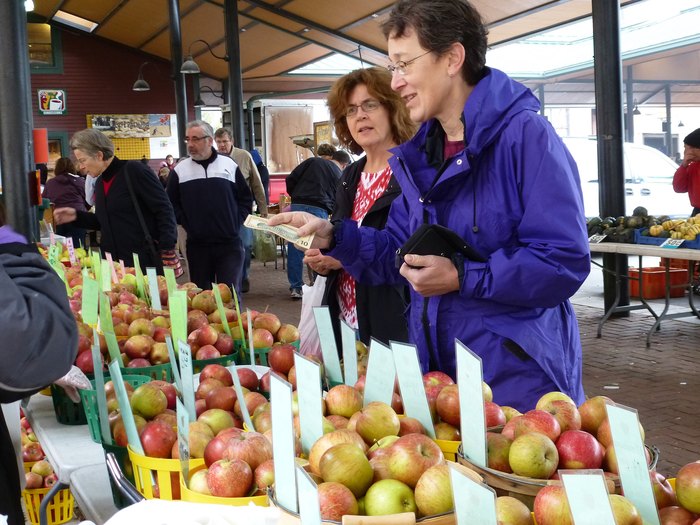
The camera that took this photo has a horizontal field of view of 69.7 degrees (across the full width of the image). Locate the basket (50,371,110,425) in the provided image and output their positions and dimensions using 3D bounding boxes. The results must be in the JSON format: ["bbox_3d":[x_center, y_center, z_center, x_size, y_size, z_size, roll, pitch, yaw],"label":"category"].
[{"bbox_3d":[-1.161,0.540,2.097,0.244,0.175,0.233,-2,0,13],"label":"basket"}]

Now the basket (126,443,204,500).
[{"bbox_3d":[-0.528,0.594,1.434,0.162,0.118,0.149,-2,-2,7],"label":"basket"}]

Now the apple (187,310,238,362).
[{"bbox_3d":[-0.674,0.361,2.411,0.190,0.270,0.102,-1,9,-11],"label":"apple"}]

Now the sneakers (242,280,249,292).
[{"bbox_3d":[-2.100,0.472,10.141,0.089,0.290,0.117,-1,-8,-6],"label":"sneakers"}]

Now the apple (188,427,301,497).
[{"bbox_3d":[-0.303,0.509,1.290,0.188,0.111,0.185,6,23,44],"label":"apple"}]

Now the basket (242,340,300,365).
[{"bbox_3d":[-0.414,0.426,2.378,0.222,0.080,0.218,-1,1,-41],"label":"basket"}]

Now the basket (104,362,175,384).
[{"bbox_3d":[-0.854,0.463,2.130,0.124,0.054,0.131,2,-3,-1],"label":"basket"}]

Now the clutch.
[{"bbox_3d":[0.330,-0.069,1.780,0.306,0.140,0.055,-3,8,-7],"label":"clutch"}]

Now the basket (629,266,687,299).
[{"bbox_3d":[5.223,0.326,8.541,0.691,0.539,1.070,-1,8,-7],"label":"basket"}]

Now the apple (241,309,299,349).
[{"bbox_3d":[-0.381,0.275,2.436,0.191,0.144,0.253,3,7,-35],"label":"apple"}]

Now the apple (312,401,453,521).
[{"bbox_3d":[0.056,0.430,1.141,0.172,0.083,0.203,-17,16,-13],"label":"apple"}]

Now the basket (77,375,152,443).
[{"bbox_3d":[-0.940,0.538,1.933,0.273,0.197,0.272,-1,-4,17],"label":"basket"}]

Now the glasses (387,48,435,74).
[{"bbox_3d":[0.240,-0.734,1.878,0.118,0.037,0.114,-26,15,-15],"label":"glasses"}]

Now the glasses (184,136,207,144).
[{"bbox_3d":[-1.685,-1.349,5.440,0.304,0.061,0.113,3,10,26],"label":"glasses"}]
